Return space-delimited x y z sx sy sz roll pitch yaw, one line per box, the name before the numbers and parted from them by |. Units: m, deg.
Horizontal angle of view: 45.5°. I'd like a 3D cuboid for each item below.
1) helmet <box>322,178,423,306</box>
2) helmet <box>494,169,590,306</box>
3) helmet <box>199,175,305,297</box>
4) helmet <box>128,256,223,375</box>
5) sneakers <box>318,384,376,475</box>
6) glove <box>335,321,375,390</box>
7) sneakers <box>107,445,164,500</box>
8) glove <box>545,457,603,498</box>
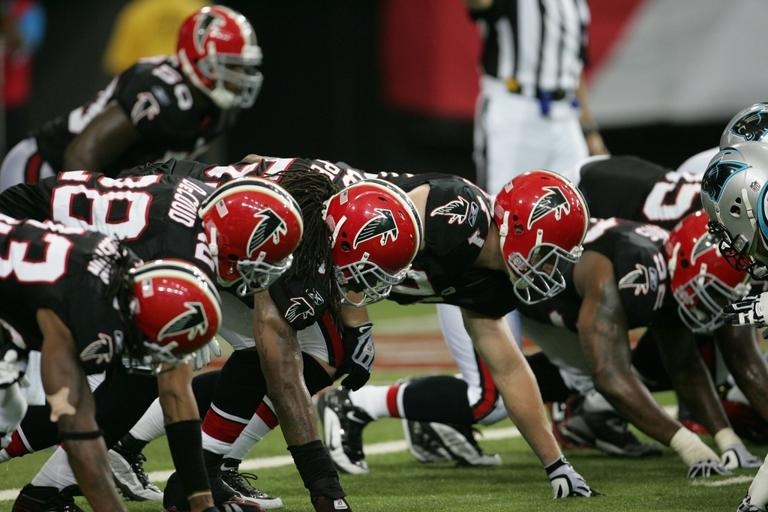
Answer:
helmet | -0.082 -0.079 3.853 0.552 0.509 0.429 -5 -3 -4
helmet | 0.656 -0.127 3.979 0.475 0.508 0.359 14 4 30
helmet | -0.539 -0.090 3.686 0.445 0.458 0.352 1 16 -11
helmet | -0.766 0.228 3.384 0.393 0.362 0.290 -10 1 10
sneakers | -0.205 0.894 4.766 0.221 0.515 0.166 -21 -8 21
glove | -0.136 0.438 4.116 0.171 0.303 0.169 -1 -5 8
sneakers | -1.121 0.962 4.107 0.233 0.231 0.176 2 -5 -18
glove | 0.810 0.975 3.921 0.220 0.145 0.095 43 -26 4
